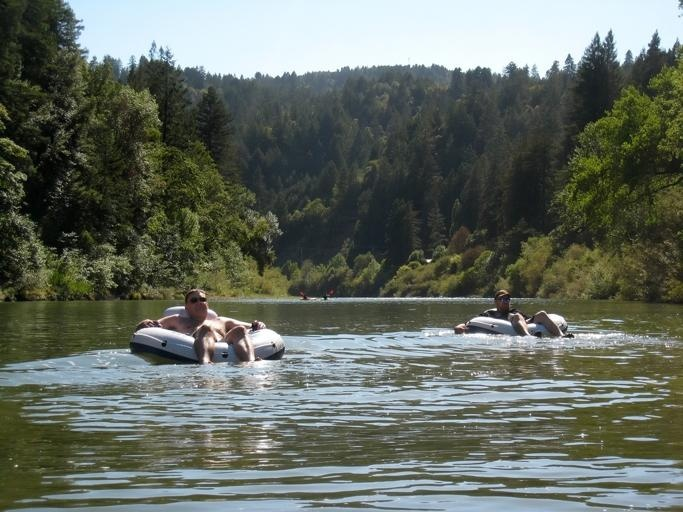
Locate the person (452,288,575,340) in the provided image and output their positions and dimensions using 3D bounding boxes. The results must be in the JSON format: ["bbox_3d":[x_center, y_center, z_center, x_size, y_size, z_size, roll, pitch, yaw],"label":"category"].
[{"bbox_3d":[4.571,1.665,25.376,1.449,0.966,2.080,2,-4,-32],"label":"person"}]

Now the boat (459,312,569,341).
[{"bbox_3d":[4.681,1.828,25.122,2.648,0.602,1.480,1,-4,9],"label":"boat"}]
